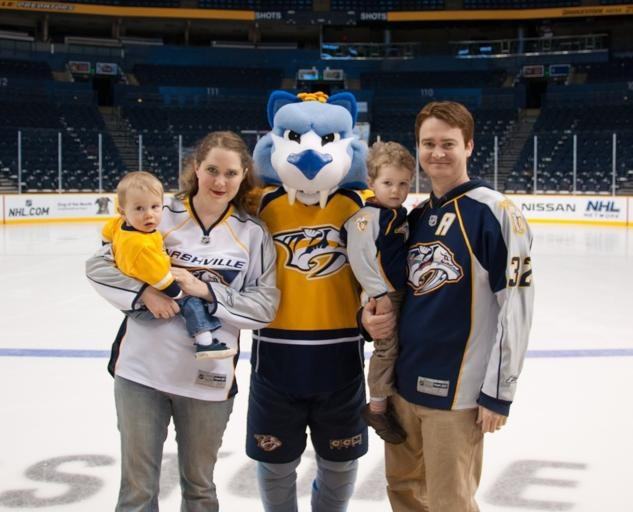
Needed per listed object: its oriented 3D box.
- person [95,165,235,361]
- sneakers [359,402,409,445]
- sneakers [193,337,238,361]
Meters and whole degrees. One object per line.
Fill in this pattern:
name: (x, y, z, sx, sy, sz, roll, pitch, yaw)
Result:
person: (-0.943, 0.056, 4.732, 1.292, 1.080, 0.453, 19, 30, 31)
sneakers: (0.435, 1.041, 4.757, 0.339, 0.157, 0.154, 39, 22, 8)
sneakers: (-0.624, 0.579, 4.565, 0.272, 0.118, 0.096, 1, -2, -31)
